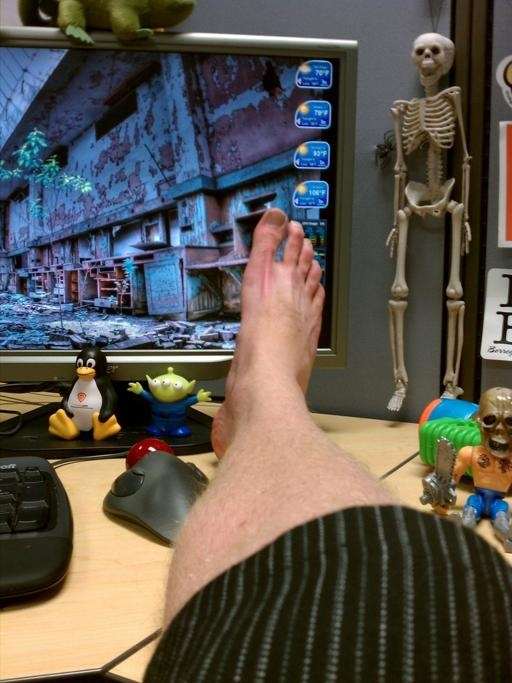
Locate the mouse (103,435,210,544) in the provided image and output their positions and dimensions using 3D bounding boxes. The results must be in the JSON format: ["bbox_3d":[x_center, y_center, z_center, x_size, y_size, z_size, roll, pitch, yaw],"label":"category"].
[{"bbox_3d":[-0.085,0.119,0.464,0.065,0.049,0.097,-18,22,-37],"label":"mouse"}]

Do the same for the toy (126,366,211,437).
[{"bbox_3d":[-0.120,0.079,0.689,0.092,0.076,0.035,1,-1,-2],"label":"toy"}]

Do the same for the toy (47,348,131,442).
[{"bbox_3d":[-0.209,0.065,0.658,0.109,0.127,0.076,3,3,14],"label":"toy"}]
